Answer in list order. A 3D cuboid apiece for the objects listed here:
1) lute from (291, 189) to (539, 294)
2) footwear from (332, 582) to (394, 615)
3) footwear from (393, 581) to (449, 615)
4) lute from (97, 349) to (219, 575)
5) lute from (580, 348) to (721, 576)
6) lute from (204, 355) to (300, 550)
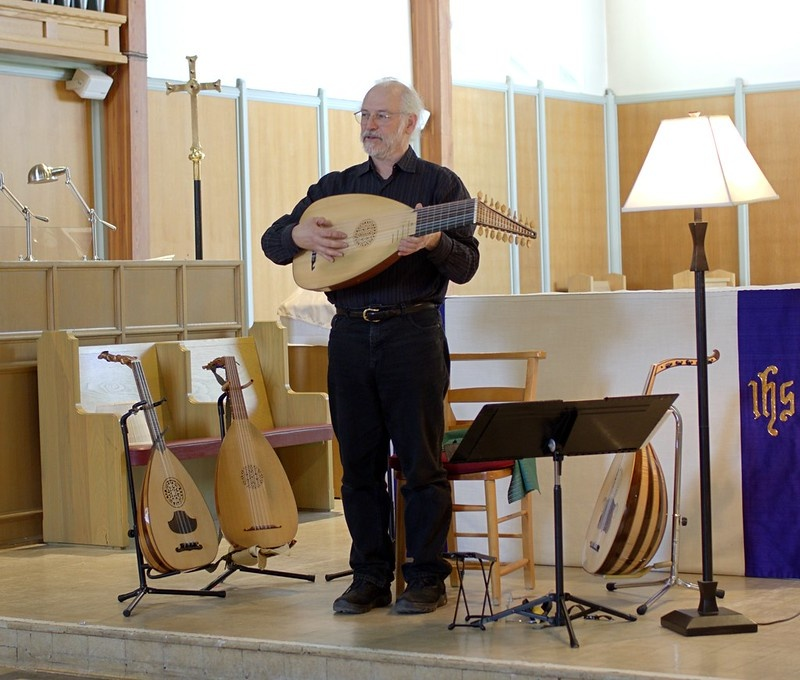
[{"bbox_3d":[-0.017,-0.334,3.605,0.920,0.355,0.130,-5,-11,23],"label":"lute"},{"bbox_3d":[-0.139,0.936,3.786,0.221,0.105,0.085,6,-9,-43],"label":"footwear"},{"bbox_3d":[0.072,0.919,3.699,0.081,0.095,0.202,-5,-11,36],"label":"footwear"},{"bbox_3d":[-1.006,0.530,4.237,0.134,0.929,0.334,-27,-17,32],"label":"lute"},{"bbox_3d":[0.923,0.497,3.980,0.391,0.887,0.450,0,5,-10],"label":"lute"},{"bbox_3d":[-0.672,0.465,4.480,0.363,0.907,0.125,4,-34,-34],"label":"lute"}]
